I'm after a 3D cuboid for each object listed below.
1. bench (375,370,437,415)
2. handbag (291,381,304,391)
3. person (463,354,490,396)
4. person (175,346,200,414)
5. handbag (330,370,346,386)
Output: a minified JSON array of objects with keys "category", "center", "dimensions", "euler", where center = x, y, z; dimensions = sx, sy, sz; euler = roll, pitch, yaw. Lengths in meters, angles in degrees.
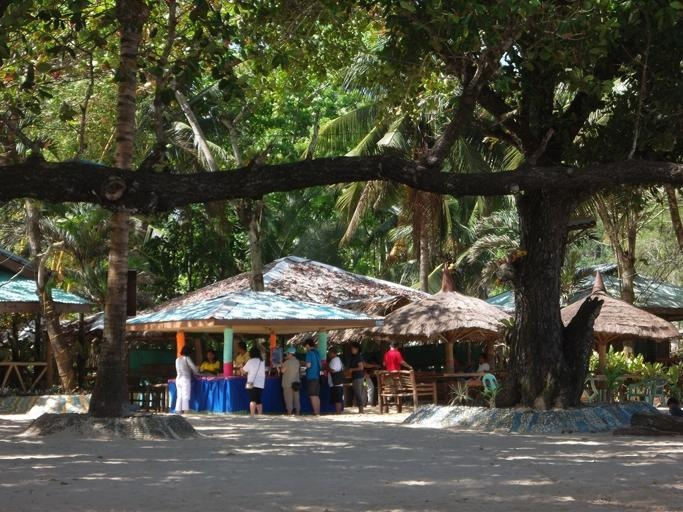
[{"category":"bench","center":[1.695,3.402,29.236],"dimensions":[1.330,0.872,0.504],"euler":[-4,3,27]},{"category":"handbag","center":[-1.070,3.224,28.893],"dimensions":[0.182,0.226,0.237],"euler":[0,-35,-4]},{"category":"person","center":[3.412,3.120,30.139],"dimensions":[0.664,1.247,0.476],"euler":[5,14,-23]},{"category":"person","center":[-3.817,3.088,29.080],"dimensions":[0.556,1.696,1.172],"euler":[0,-7,-8]},{"category":"handbag","center":[-0.082,3.125,29.811],"dimensions":[0.449,0.434,0.188],"euler":[1,-11,-16]}]
